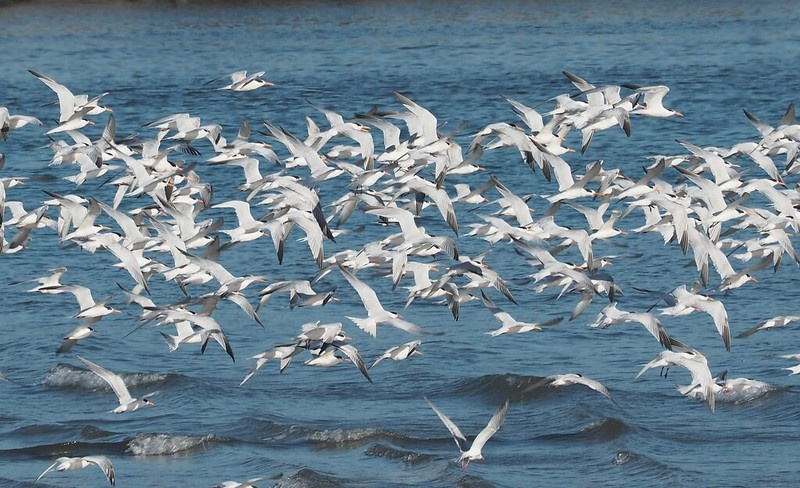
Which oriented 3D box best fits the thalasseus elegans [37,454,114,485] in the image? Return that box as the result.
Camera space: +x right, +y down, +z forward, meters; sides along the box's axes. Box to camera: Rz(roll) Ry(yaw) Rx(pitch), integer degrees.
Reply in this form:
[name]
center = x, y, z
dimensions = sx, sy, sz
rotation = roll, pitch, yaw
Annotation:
[thalasseus elegans]
center = -13.529, 9.495, 61.598
dimensions = 3.245, 1.548, 3.177
rotation = -1, 5, -16
